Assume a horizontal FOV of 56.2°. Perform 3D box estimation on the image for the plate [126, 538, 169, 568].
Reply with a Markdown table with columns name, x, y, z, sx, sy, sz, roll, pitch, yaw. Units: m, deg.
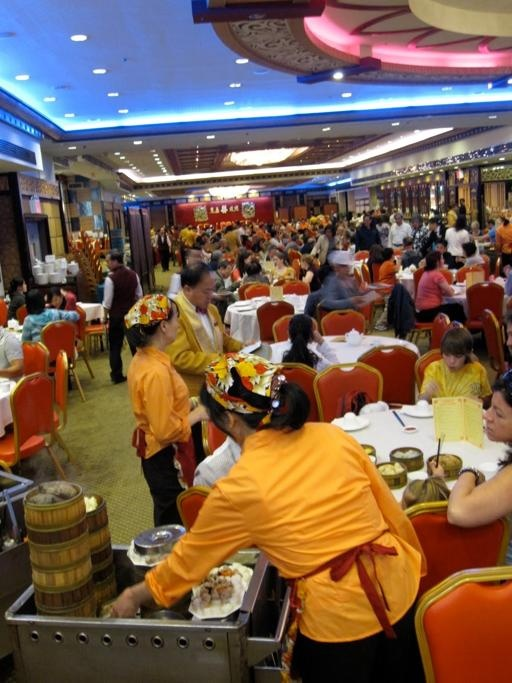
| name | x | y | z | sx | sy | sz | roll | pitch | yaw |
| --- | --- | --- | --- | --- | --- | --- | --- | --- | --- |
| plate | -0.249 | 0.491 | 1.094 | 0.076 | 0.027 | 0.075 | -22 | 32 | -35 |

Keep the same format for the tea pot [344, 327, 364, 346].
| name | x | y | z | sx | sy | sz | roll | pitch | yaw |
| --- | --- | --- | --- | --- | --- | --- | --- | --- | --- |
| tea pot | 0.809 | -0.032 | 3.922 | 0.139 | 0.113 | 0.098 | -3 | 11 | -2 |

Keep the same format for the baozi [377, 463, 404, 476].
| name | x | y | z | sx | sy | sz | roll | pitch | yaw |
| --- | --- | --- | --- | --- | --- | --- | --- | --- | --- |
| baozi | 0.476 | 0.451 | 1.695 | 0.061 | 0.020 | 0.060 | -1 | 2 | 5 |

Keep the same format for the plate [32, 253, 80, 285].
| name | x | y | z | sx | sy | sz | roll | pitch | yaw |
| --- | --- | --- | --- | --- | --- | --- | --- | --- | --- |
| plate | -3.827 | -1.350 | 9.185 | 0.673 | 0.367 | 0.917 | 0 | 9 | -1 |

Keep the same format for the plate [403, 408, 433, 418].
| name | x | y | z | sx | sy | sz | roll | pitch | yaw |
| --- | --- | --- | --- | --- | --- | --- | --- | --- | --- |
| plate | 0.804 | 0.354 | 2.404 | 0.146 | 0.037 | 0.105 | -2 | 11 | 17 |
